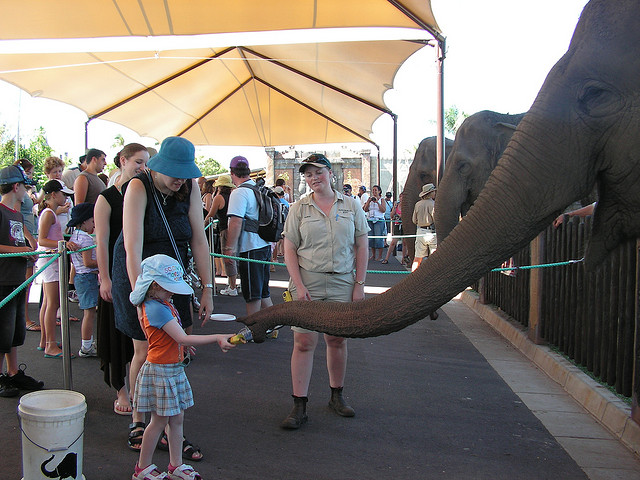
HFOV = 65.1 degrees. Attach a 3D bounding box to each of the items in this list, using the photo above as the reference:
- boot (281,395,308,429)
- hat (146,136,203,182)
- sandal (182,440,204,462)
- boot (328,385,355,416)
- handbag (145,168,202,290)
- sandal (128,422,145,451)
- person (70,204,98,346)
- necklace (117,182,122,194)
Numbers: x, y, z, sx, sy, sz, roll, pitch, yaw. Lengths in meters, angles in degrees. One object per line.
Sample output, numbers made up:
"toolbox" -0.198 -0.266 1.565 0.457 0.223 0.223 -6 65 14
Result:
"boot" -0.223 1.580 4.606 0.156 0.261 0.357 -2 -5 24
"hat" -1.104 -0.656 3.802 0.488 0.257 0.453 19 19 20
"sandal" -1.014 1.681 3.951 0.212 0.087 0.071 -1 0 37
"boot" 0.202 1.563 4.889 0.136 0.244 0.343 1 2 -36
"handbag" -1.155 -0.111 3.879 0.110 1.002 0.143 -22 6 -21
"sandal" -1.509 1.604 4.086 0.119 0.151 0.347 2 -4 -17
"person" -2.899 0.481 6.141 0.293 1.828 0.849 -1 5 -27
"necklace" -1.807 -0.458 4.501 0.028 0.020 0.105 -10 53 -27
